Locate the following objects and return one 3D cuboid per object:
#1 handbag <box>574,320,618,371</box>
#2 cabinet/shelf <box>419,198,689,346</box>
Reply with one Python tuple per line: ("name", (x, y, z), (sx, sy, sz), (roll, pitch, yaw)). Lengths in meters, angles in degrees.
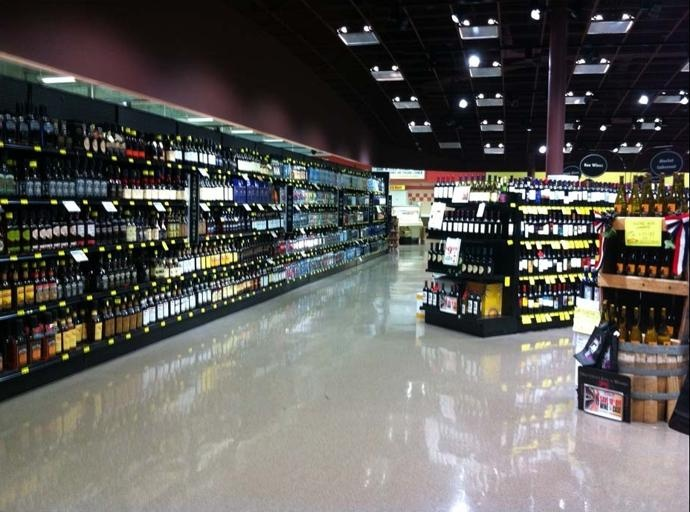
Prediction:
("handbag", (2.354, 0.839, 5.043), (0.167, 0.477, 0.382), (7, 8, -26))
("cabinet/shelf", (2.409, 0.055, 7.732), (2.391, 1.946, 1.032), (-1, 9, -11))
